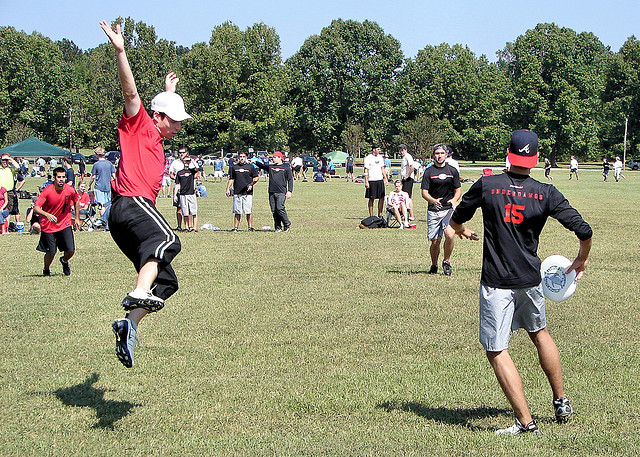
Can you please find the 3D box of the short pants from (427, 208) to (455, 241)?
[{"bbox_3d":[2.228,-0.091,13.631,0.602,0.682,0.400,2,1,4],"label":"short pants"}]

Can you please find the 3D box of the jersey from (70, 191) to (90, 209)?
[{"bbox_3d":[-6.163,-0.738,19.169,0.599,0.577,0.335,0,-4,-10],"label":"jersey"}]

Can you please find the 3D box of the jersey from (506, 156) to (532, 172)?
[{"bbox_3d":[2.087,-0.684,7.753,0.162,0.271,0.119,4,-22,-15],"label":"jersey"}]

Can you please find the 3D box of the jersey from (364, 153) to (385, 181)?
[{"bbox_3d":[1.719,-1.901,22.987,0.615,0.817,0.486,0,9,0],"label":"jersey"}]

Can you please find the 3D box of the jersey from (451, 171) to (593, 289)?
[{"bbox_3d":[2.113,0.029,7.891,1.546,1.239,0.512,8,14,25],"label":"jersey"}]

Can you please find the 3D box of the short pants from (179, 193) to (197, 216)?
[{"bbox_3d":[-3.820,-0.732,21.529,0.541,0.736,0.413,2,18,7],"label":"short pants"}]

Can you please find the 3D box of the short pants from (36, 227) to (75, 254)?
[{"bbox_3d":[-5.070,0.233,14.315,0.842,0.786,0.438,1,-1,-28],"label":"short pants"}]

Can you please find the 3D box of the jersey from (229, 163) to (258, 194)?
[{"bbox_3d":[-2.188,-1.464,21.513,0.686,0.911,0.426,-1,9,-6],"label":"jersey"}]

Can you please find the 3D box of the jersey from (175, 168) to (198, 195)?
[{"bbox_3d":[-3.850,-1.424,21.586,0.723,0.809,0.314,-3,21,-10],"label":"jersey"}]

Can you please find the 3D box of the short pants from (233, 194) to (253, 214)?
[{"bbox_3d":[-2.281,-0.743,21.782,0.739,0.788,0.457,0,0,-11],"label":"short pants"}]

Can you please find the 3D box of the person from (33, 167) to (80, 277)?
[{"bbox_3d":[-5.070,-0.145,14.375,0.784,2.104,0.977,-3,9,-19],"label":"person"}]

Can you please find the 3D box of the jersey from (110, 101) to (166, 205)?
[{"bbox_3d":[-1.994,-0.826,8.153,0.574,1.116,0.370,-3,9,-16],"label":"jersey"}]

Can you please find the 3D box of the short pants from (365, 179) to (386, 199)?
[{"bbox_3d":[1.765,-1.250,23.318,0.553,0.620,0.464,0,9,4],"label":"short pants"}]

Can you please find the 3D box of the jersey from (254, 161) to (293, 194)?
[{"bbox_3d":[-1.159,-1.459,21.556,0.711,0.794,0.850,-1,9,-5],"label":"jersey"}]

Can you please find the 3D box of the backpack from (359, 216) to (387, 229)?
[{"bbox_3d":[1.603,-0.194,22.157,0.859,0.279,0.519,-2,9,-8],"label":"backpack"}]

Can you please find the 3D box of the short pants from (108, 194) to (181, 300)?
[{"bbox_3d":[-1.905,0.019,8.040,0.750,0.773,0.470,8,12,43],"label":"short pants"}]

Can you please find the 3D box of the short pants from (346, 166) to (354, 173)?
[{"bbox_3d":[2.300,-4.559,56.270,0.637,0.865,0.493,0,3,-7],"label":"short pants"}]

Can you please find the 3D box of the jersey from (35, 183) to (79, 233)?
[{"bbox_3d":[-5.084,-0.429,14.336,0.921,0.931,0.436,-3,20,-32],"label":"jersey"}]
